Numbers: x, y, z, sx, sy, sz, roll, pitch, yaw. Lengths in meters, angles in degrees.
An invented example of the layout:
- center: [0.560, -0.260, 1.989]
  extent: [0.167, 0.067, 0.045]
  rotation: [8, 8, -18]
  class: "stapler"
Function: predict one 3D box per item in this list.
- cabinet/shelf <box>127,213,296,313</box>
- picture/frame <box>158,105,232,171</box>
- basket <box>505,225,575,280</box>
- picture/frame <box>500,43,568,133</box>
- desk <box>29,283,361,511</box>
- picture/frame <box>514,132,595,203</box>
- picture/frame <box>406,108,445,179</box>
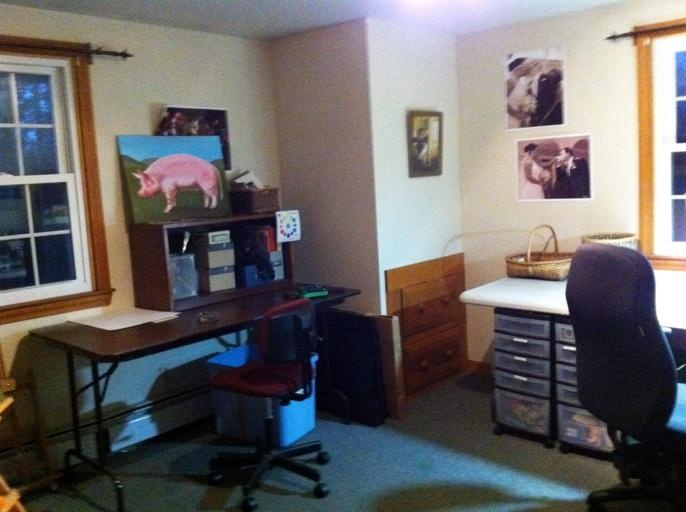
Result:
- center: [-0.940, 0.040, 3.765]
  extent: [0.489, 0.589, 1.232]
  rotation: [9, 8, 44]
  class: "cabinet/shelf"
- center: [-1.034, -0.867, 4.080]
  extent: [0.525, 0.399, 0.100]
  rotation: [-7, 12, -42]
  class: "picture/frame"
- center: [1.460, -0.029, 4.094]
  extent: [0.461, 0.344, 0.450]
  rotation: [-1, 1, 41]
  class: "basket"
- center: [1.420, -1.238, 4.191]
  extent: [0.427, 0.548, 0.056]
  rotation: [3, 14, 35]
  class: "picture/frame"
- center: [-1.057, 0.759, 3.613]
  extent: [1.299, 0.936, 2.360]
  rotation: [10, 8, 41]
  class: "desk"
- center: [1.581, -0.666, 4.175]
  extent: [0.617, 0.499, 0.063]
  rotation: [2, 5, 34]
  class: "picture/frame"
- center: [0.608, -0.863, 4.275]
  extent: [0.086, 0.585, 0.581]
  rotation: [5, 9, 43]
  class: "picture/frame"
